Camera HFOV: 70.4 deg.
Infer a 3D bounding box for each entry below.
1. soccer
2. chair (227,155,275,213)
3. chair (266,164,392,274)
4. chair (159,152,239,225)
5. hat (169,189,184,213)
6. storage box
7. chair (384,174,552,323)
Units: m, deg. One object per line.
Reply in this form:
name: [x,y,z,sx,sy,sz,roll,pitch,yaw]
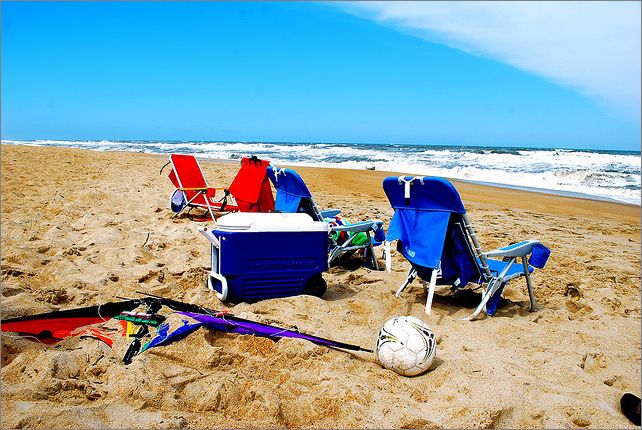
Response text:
soccer: [0.750,1.188,4.132,0.529,0.458,0.484,1,-8,7]
chair: [-1.142,-0.510,7.852,0.926,0.948,0.852,6,23,16]
chair: [0.120,0.083,6.418,1.776,1.377,1.308,1,11,-30]
chair: [-2.169,-0.482,8.279,1.417,1.032,0.887,15,12,18]
hat: [-2.529,-0.231,7.921,0.329,0.369,0.092,1,-1,5]
storage box: [-0.729,0.462,5.157,1.410,0.898,0.845,-1,4,-18]
chair: [1.705,0.338,5.484,1.986,1.381,1.669,0,5,-39]
